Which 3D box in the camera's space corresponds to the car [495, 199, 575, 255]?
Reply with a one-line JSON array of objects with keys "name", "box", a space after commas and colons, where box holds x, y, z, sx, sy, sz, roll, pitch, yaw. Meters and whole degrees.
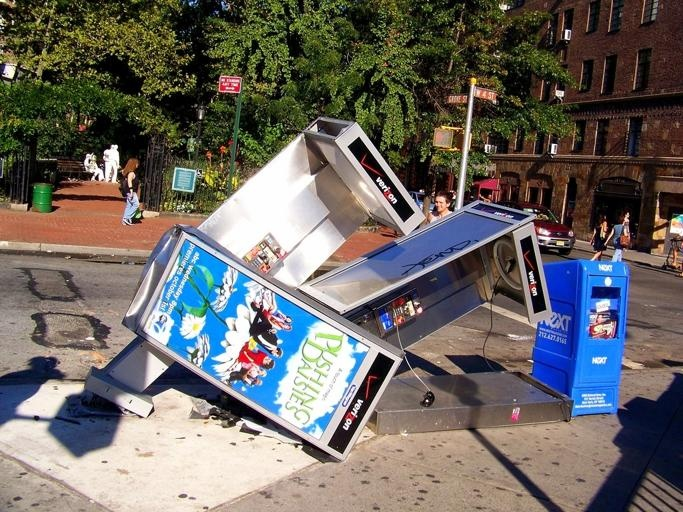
[{"name": "car", "box": [8.484, -1.265, 25.186, 2.825, 1.950, 5.554, 7, 10, 6]}]

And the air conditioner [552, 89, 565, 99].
[{"name": "air conditioner", "box": [14.435, -10.723, 37.981, 0.542, 0.587, 1.055, 6, 14, 7]}]

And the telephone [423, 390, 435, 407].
[{"name": "telephone", "box": [0.872, 1.482, 5.898, 0.113, 0.122, 0.173, 9, 10, 21]}]

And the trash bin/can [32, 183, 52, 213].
[{"name": "trash bin/can", "box": [-8.783, -1.714, 16.882, 0.512, 0.866, 0.513, -1, 12, -35]}]

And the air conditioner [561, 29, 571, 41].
[{"name": "air conditioner", "box": [14.829, -14.622, 37.815, 0.581, 0.771, 0.484, 5, 10, -3]}]

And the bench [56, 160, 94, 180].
[{"name": "bench", "box": [-14.850, -4.789, 31.971, 1.292, 1.148, 5.147, 2, 11, -19]}]

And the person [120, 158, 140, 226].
[{"name": "person", "box": [-6.122, -1.869, 16.657, 0.456, 1.943, 0.988, 2, 10, -19]}]
